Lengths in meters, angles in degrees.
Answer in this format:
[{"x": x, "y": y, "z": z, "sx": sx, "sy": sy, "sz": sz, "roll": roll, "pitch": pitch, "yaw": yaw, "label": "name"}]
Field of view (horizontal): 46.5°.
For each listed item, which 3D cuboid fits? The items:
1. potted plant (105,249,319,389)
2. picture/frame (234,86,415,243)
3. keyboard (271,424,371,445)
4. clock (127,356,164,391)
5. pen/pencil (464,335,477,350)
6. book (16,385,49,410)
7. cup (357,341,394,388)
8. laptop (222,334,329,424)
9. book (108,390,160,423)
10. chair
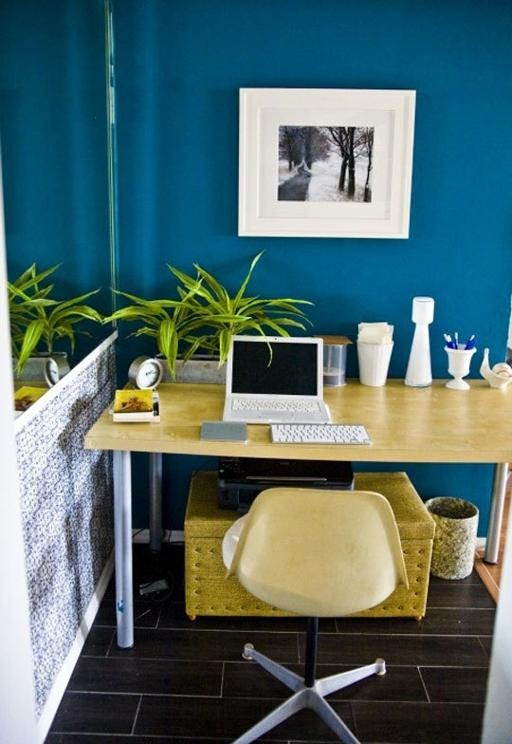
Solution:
[{"x": -0.159, "y": -0.213, "z": 2.409, "sx": 0.547, "sy": 0.284, "sz": 0.579, "roll": 0, "pitch": 22, "yaw": -1, "label": "potted plant"}, {"x": 0.256, "y": -0.822, "z": 2.281, "sx": 0.507, "sy": 0.461, "sz": 0.041, "roll": 1, "pitch": 18, "yaw": 1, "label": "picture/frame"}, {"x": 0.186, "y": 0.182, "z": 1.773, "sx": 0.292, "sy": 0.024, "sz": 0.167, "roll": 2, "pitch": 11, "yaw": 3, "label": "keyboard"}, {"x": -0.399, "y": 0.008, "z": 2.177, "sx": 0.057, "sy": 0.113, "sz": 0.108, "roll": 7, "pitch": -3, "yaw": 26, "label": "clock"}, {"x": 0.863, "y": -0.122, "z": 2.399, "sx": 0.019, "sy": 0.061, "sz": 0.018, "roll": 21, "pitch": -18, "yaw": 17, "label": "pen/pencil"}, {"x": -0.511, "y": 0.054, "z": 1.342, "sx": 0.047, "sy": 0.016, "sz": 0.051, "roll": 1, "pitch": 21, "yaw": 10, "label": "book"}, {"x": 0.434, "y": -0.040, "z": 2.345, "sx": 0.153, "sy": 0.183, "sz": 0.164, "roll": 0, "pitch": 13, "yaw": 0, "label": "cup"}, {"x": 0.067, "y": 0.010, "z": 2.021, "sx": 0.313, "sy": 0.218, "sz": 0.291, "roll": 1, "pitch": 24, "yaw": 0, "label": "laptop"}, {"x": -0.380, "y": 0.107, "z": 1.880, "sx": 0.108, "sy": 0.029, "sz": 0.122, "roll": 3, "pitch": 37, "yaw": 2, "label": "book"}, {"x": 0.150, "y": 0.683, "z": 1.620, "sx": 0.497, "sy": 0.770, "sz": 0.518, "roll": 2, "pitch": 28, "yaw": 1, "label": "chair"}]
